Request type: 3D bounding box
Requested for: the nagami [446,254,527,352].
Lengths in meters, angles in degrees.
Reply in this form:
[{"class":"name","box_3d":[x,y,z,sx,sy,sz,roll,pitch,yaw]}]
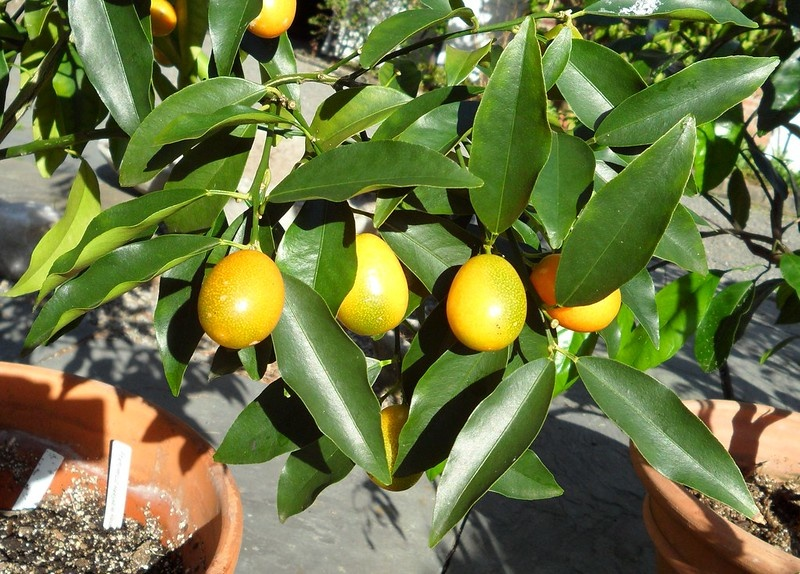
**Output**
[{"class":"nagami","box_3d":[0.139,0.026,1.255,0.104,0.163,0.112,8,5,-16]}]
